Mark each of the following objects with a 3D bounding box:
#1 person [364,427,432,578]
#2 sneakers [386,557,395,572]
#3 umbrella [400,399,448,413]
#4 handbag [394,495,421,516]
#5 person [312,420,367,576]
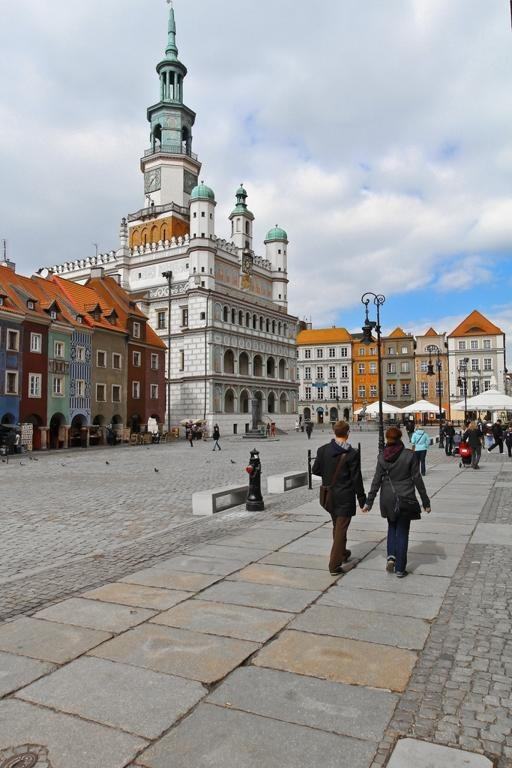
[{"bbox_3d":[1.517,1.251,7.276,0.698,1.560,0.603,-2,-3,14],"label":"person"},{"bbox_3d":[1.450,1.950,7.199,0.056,0.163,0.068,0,16,5],"label":"sneakers"},{"bbox_3d":[14.290,1.728,56.210,2.400,1.075,2.441,4,-9,-29],"label":"umbrella"},{"bbox_3d":[1.575,1.279,7.021,0.190,0.190,0.089,9,29,11],"label":"handbag"},{"bbox_3d":[0.885,1.231,7.380,0.438,1.620,0.597,1,-3,-29],"label":"person"}]
